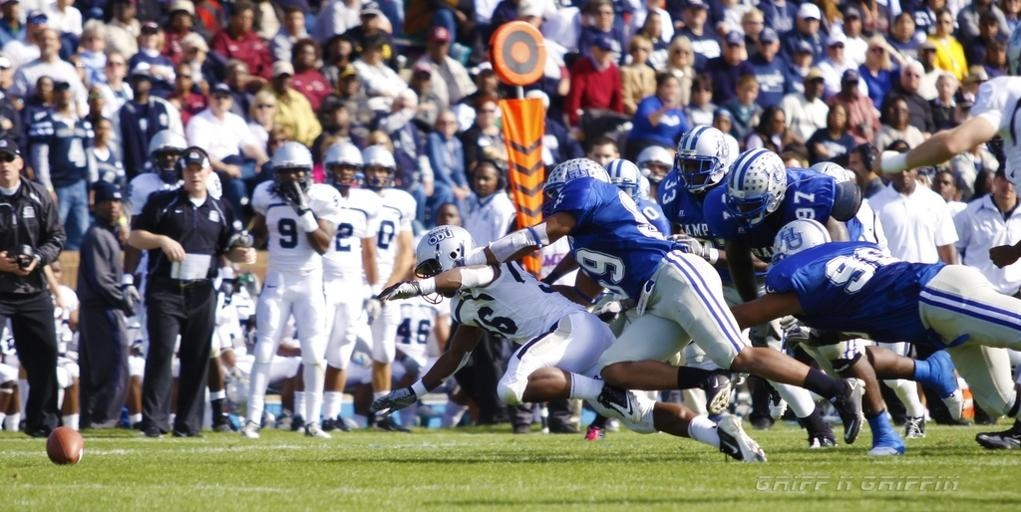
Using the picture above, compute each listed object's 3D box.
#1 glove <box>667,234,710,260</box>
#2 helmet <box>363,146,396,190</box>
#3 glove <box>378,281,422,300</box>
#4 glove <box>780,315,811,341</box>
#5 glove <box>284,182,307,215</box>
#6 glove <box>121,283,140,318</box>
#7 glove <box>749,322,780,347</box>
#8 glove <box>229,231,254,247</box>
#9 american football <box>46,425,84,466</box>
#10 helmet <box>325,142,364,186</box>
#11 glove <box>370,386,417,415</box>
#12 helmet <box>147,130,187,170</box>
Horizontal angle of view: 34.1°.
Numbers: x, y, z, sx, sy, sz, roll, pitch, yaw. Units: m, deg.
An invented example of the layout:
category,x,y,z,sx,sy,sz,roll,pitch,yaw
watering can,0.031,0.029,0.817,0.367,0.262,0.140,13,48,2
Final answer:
category,x,y,z,sx,sy,sz,roll,pitch,yaw
glove,2.264,-0.059,20.817,0.427,0.144,0.311,25,3,11
helmet,-1.788,-1.214,23.321,0.319,0.625,0.500,-12,-16,40
glove,-1.231,0.404,19.872,0.651,0.234,0.283,0,-12,-2
glove,3.466,0.877,20.042,0.362,0.121,0.263,23,-11,-33
glove,-2.795,-0.751,21.947,0.256,0.419,0.174,-25,2,38
glove,-5.079,0.566,21.987,0.143,0.361,0.283,-6,-8,18
glove,3.206,0.959,20.707,0.377,0.452,0.257,-1,4,-8
glove,-3.558,-0.218,21.940,0.323,0.214,0.083,3,-13,-18
american football,-5.305,2.242,19.787,0.371,0.433,0.369,13,-7,-32
helmet,-2.274,-1.293,22.683,0.460,0.482,0.535,3,6,-33
glove,-1.423,1.752,20.251,0.554,0.326,0.199,-10,-7,-4
helmet,-4.586,-1.431,22.176,0.433,0.457,0.521,0,31,28
